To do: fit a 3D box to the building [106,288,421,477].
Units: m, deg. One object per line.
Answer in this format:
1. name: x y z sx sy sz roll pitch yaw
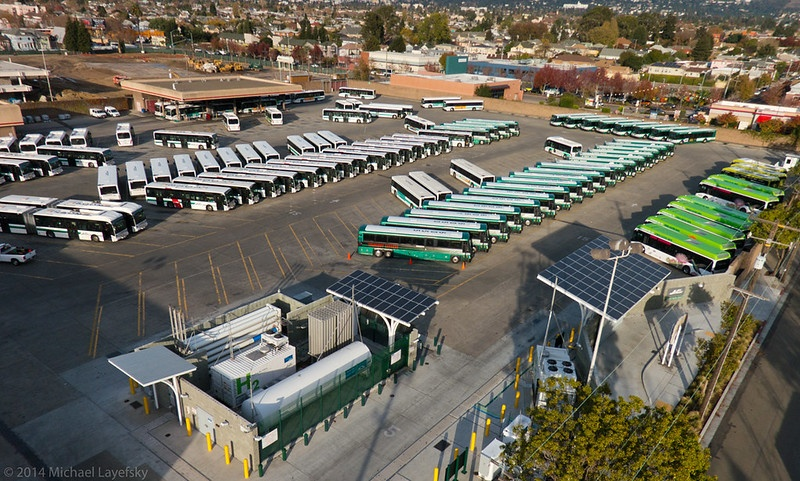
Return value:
1. building: -8.469 13.259 54.530 16.465 6.475 22.300 19 32 34
